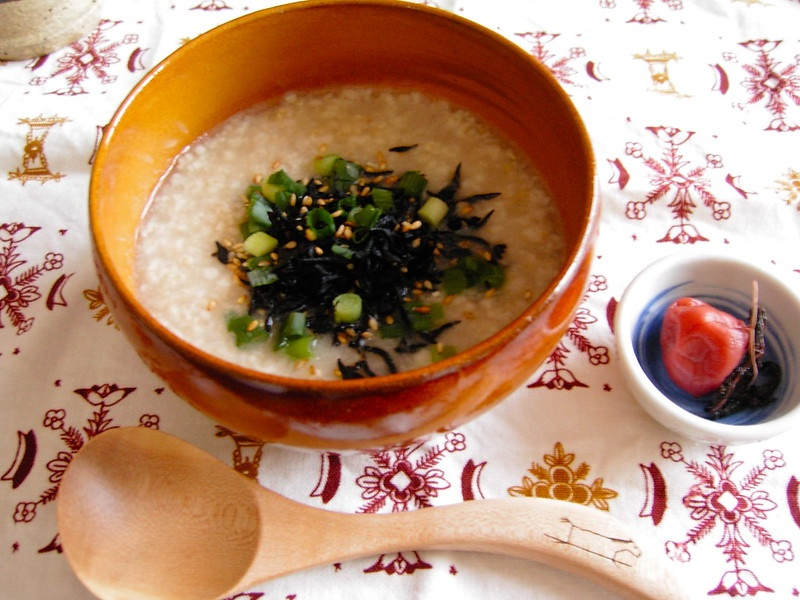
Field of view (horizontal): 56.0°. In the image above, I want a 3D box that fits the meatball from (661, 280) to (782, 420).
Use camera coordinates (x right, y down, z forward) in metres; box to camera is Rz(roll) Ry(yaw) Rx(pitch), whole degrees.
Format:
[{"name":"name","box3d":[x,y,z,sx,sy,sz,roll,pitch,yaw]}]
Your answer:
[{"name":"meatball","box3d":[0.821,0.128,1.902,0.351,0.187,0.323,-22,76,16]}]
